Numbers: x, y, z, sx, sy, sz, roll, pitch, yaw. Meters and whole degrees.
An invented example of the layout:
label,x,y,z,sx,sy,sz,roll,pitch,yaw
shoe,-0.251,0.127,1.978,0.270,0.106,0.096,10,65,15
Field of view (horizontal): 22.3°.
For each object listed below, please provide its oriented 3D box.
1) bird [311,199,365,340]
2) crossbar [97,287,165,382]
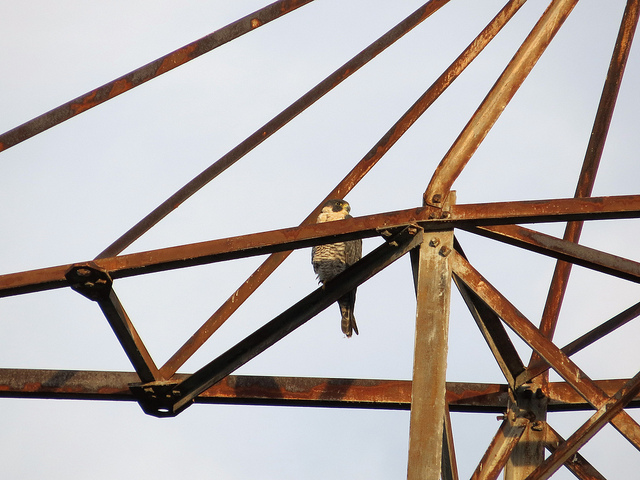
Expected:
label,x,y,z,sx,sy,sz,roll,pitch,yaw
bird,0.193,0.209,14.279,0.314,1.071,0.715,-11,-39,29
crossbar,-1.361,0.705,11.570,0.233,0.374,0.676,-10,-101,31
